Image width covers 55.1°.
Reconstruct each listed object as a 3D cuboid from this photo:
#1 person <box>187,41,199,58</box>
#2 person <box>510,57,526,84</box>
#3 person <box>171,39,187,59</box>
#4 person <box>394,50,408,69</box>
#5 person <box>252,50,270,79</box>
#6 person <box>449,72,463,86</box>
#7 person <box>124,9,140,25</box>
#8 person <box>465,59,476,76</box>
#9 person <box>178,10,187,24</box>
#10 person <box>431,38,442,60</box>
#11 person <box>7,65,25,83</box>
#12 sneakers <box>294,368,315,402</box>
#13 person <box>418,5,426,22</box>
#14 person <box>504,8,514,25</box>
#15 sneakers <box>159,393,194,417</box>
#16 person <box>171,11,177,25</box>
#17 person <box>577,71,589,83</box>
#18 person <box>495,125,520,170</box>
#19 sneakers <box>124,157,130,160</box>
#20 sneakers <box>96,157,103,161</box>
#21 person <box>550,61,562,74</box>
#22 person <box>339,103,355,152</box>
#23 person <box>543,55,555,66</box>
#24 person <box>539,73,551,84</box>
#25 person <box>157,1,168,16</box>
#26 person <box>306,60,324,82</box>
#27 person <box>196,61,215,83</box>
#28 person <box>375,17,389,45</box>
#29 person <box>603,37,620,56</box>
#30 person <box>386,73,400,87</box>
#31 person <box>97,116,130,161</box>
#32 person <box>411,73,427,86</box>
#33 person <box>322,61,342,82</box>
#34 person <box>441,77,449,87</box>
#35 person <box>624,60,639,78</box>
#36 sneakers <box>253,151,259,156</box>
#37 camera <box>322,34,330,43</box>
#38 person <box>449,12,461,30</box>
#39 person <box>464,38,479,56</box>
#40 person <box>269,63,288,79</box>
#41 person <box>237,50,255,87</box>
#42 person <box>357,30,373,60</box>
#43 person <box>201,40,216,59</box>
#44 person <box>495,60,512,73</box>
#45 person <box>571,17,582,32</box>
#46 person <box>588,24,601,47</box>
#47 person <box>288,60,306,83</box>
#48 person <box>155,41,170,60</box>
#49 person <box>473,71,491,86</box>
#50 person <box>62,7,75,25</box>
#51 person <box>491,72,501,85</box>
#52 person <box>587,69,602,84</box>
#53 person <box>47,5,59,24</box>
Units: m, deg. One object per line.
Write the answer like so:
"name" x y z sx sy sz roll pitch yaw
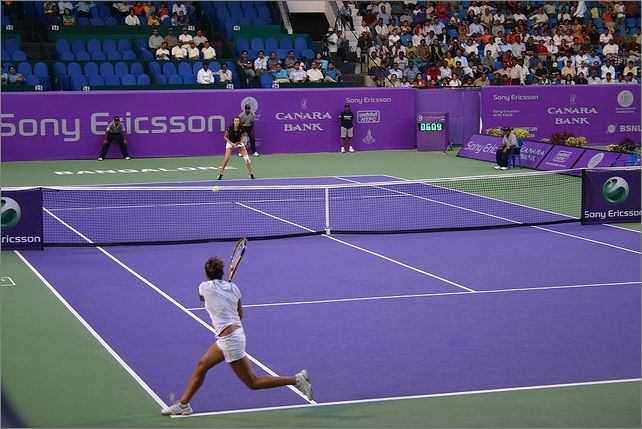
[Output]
"person" -5.594 -7.166 26.810 0.532 0.716 0.776 -3 15 -10
"person" 8.960 -6.610 28.300 0.655 1.086 0.775 -8 16 -28
"person" -6.173 -7.151 26.747 0.801 1.134 0.623 1 -24 -17
"person" 3.754 -7.228 28.705 0.864 1.139 0.759 -1 8 3
"person" -2.672 -6.634 27.034 0.638 1.057 0.844 -2 14 -5
"person" 6.035 -6.074 27.680 0.549 0.553 0.957 4 15 15
"person" -8.615 -9.009 27.981 0.660 0.777 1.261 -5 15 -17
"person" 6.902 -6.763 28.501 0.505 0.719 0.986 4 15 16
"person" -6.424 -9.157 28.500 0.424 0.634 0.933 -3 15 -11
"person" 5.475 -7.791 29.076 0.574 1.040 1.049 3 15 13
"person" -12.052 -5.510 24.207 0.593 0.733 0.677 -3 15 -10
"sneakers" -0.206 1.895 6.818 0.185 0.440 0.147 -22 26 0
"person" 5.172 -10.381 31.992 0.487 0.814 1.678 2 15 8
"person" 9.909 -10.395 32.386 0.572 0.956 1.355 4 15 15
"sneakers" -1.554 2.088 6.773 0.450 0.295 0.162 2 -2 5
"person" -6.790 -9.037 28.360 0.332 0.539 0.915 -4 15 -15
"person" 11.772 -6.193 27.819 0.597 0.489 1.406 6 16 22
"person" 6.417 -2.303 21.223 0.775 1.464 0.983 4 15 17
"sneakers" -7.749 -2.240 24.465 0.142 0.149 0.346 -6 3 -30
"sneakers" -8.722 -2.180 24.198 0.164 0.193 0.448 0 -1 -11
"person" 10.950 -6.880 28.692 0.516 0.531 0.993 11 18 37
"person" 1.098 -3.668 26.119 0.641 2.052 0.808 0 14 3
"person" 10.625 -7.179 28.796 0.502 0.543 1.516 7 21 22
"person" 10.224 -6.223 28.036 0.815 0.437 0.368 -13 19 -40
"person" -7.446 -9.596 28.804 0.524 0.741 0.991 -4 15 -13
"person" -0.291 -6.318 27.048 0.779 0.826 0.543 -2 14 -5
"person" -4.871 -5.988 25.870 0.751 0.842 0.613 13 19 42
"person" 2.923 -9.025 30.024 0.612 1.165 1.295 6 15 23
"person" 14.307 -8.215 30.367 0.580 0.854 0.863 1 11 18
"person" 3.240 -6.089 27.796 0.630 0.536 0.883 2 15 9
"person" -8.232 -3.085 24.294 1.359 1.977 1.136 -2 32 -18
"person" 4.411 -6.059 27.620 0.536 0.590 0.710 1 12 7
"person" 0.482 -6.370 27.321 0.834 0.804 0.618 -3 14 -10
"person" 5.502 -5.852 27.327 0.313 0.412 1.003 2 15 11
"person" 14.497 -6.797 28.738 0.670 0.817 0.932 1 7 16
"sneakers" -2.764 -2.537 25.672 0.158 0.134 0.308 -1 13 -6
"camera" 0.192 -8.286 28.856 0.362 0.514 0.148 0 -8 -6
"person" 6.871 -9.985 31.769 0.574 0.831 1.502 3 15 12
"person" 7.203 -8.086 29.666 0.635 0.885 0.425 0 -25 6
"person" -1.828 -6.231 26.722 0.789 0.683 0.763 -2 14 -6
"person" -3.251 -6.340 26.710 0.745 1.519 1.110 -5 15 -17
"person" 2.052 -7.882 28.737 0.686 1.267 1.252 1 14 6
"person" -4.983 -7.226 26.973 0.626 0.804 1.467 -3 15 -9
"person" 8.356 -6.778 28.293 0.585 0.707 0.810 2 10 17
"person" 13.228 -9.786 31.767 0.471 0.625 0.875 5 15 21
"person" 13.988 -9.156 31.491 0.595 1.040 0.760 6 16 23
"person" -1.037 -6.263 26.924 0.769 0.820 0.640 -1 14 -1
"person" -6.900 -7.171 26.773 0.644 0.693 0.747 0 14 2
"person" 7.420 -6.224 28.087 0.516 0.560 1.473 11 18 38
"person" -11.141 -8.716 27.067 0.493 0.736 0.759 -6 15 -21
"person" 7.997 -6.205 28.055 0.461 0.512 1.472 3 15 13
"person" 12.586 -6.355 28.266 0.627 0.575 1.158 6 16 22
"person" -11.795 -8.809 27.072 0.571 0.866 0.957 -6 16 -22
